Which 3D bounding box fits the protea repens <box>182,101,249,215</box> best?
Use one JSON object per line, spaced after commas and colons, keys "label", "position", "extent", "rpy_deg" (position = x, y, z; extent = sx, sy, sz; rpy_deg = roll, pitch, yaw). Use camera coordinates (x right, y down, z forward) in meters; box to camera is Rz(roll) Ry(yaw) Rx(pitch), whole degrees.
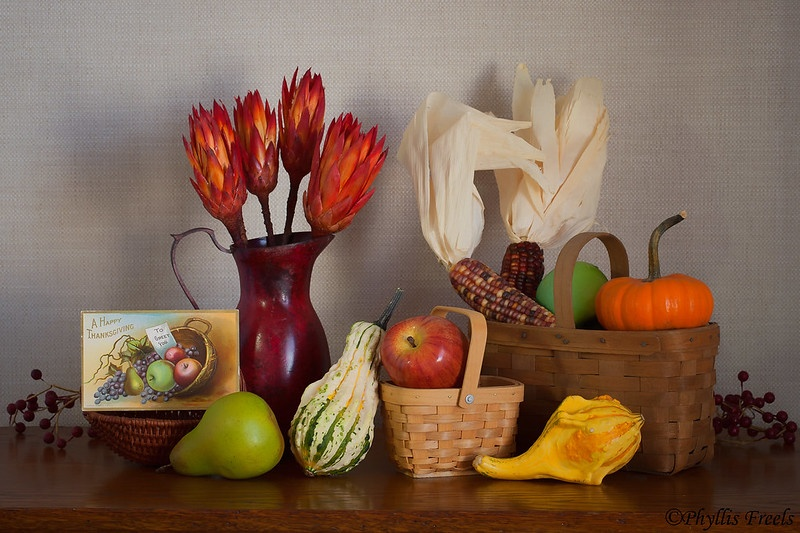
{"label": "protea repens", "position": [-0.354, -0.199, 1.463], "extent": [0.103, 0.235, 0.092], "rpy_deg": [-7, 10, -40]}

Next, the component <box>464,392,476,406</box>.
{"label": "component", "position": [0.122, 0.233, 1.318], "extent": [0.022, 0.024, 0.006], "rpy_deg": [-1, 1, -13]}

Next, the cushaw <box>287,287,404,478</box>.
{"label": "cushaw", "position": [-0.084, 0.209, 1.418], "extent": [0.159, 0.384, 0.159], "rpy_deg": [15, -25, 17]}

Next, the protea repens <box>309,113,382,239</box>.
{"label": "protea repens", "position": [-0.108, -0.177, 1.466], "extent": [0.132, 0.230, 0.138], "rpy_deg": [8, 15, 34]}

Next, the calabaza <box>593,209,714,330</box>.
{"label": "calabaza", "position": [0.491, 0.013, 1.460], "extent": [0.210, 0.248, 0.229], "rpy_deg": [-5, -5, 14]}

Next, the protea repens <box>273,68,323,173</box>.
{"label": "protea repens", "position": [-0.195, -0.290, 1.507], "extent": [0.070, 0.216, 0.084], "rpy_deg": [-8, 11, -42]}

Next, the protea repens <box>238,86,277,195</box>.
{"label": "protea repens", "position": [-0.275, -0.249, 1.487], "extent": [0.059, 0.220, 0.070], "rpy_deg": [-4, 10, -11]}
